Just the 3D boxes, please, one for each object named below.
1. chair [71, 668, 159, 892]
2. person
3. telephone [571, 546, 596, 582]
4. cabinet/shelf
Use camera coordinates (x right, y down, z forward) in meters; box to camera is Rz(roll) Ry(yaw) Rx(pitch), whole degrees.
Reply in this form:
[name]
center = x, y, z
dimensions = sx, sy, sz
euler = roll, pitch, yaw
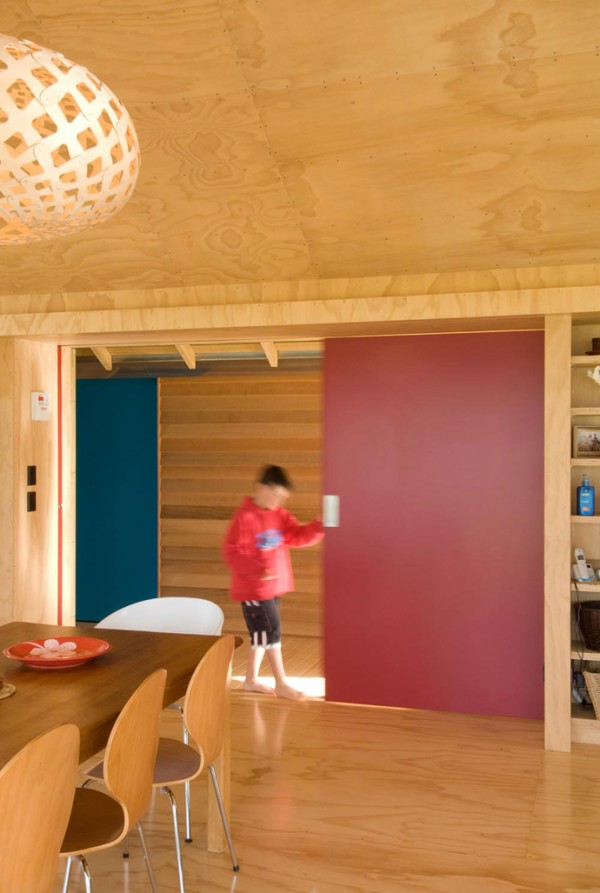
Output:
[chair]
center = -0.472, 0.779, 1.959
dimensions = 0.239, 0.403, 0.420
euler = 0, -2, -11
[person]
center = -0.150, 0.770, 4.325
dimensions = 0.555, 1.312, 0.385
euler = 0, -2, -2
[telephone]
center = 1.418, 0.605, 3.839
dimensions = 0.111, 0.182, 0.043
euler = -10, -28, -1
[cabinet/shelf]
center = 1.325, 0.060, 3.786
dimensions = 0.125, 1.467, 0.382
euler = -4, 3, 27
